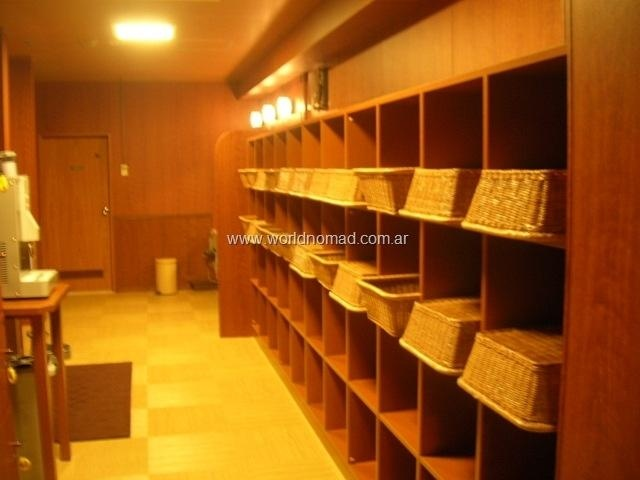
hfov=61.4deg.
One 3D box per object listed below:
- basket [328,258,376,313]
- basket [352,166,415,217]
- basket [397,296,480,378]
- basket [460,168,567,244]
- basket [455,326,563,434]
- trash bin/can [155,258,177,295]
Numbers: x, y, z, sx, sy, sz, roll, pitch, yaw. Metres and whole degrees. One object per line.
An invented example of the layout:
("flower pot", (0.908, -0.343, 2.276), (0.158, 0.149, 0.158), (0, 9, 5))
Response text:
("basket", (0.172, 0.245, 2.914), (0.228, 0.152, 0.288), (-1, 4, -23))
("basket", (0.287, -0.209, 2.419), (0.184, 0.159, 0.260), (0, 1, -13))
("basket", (0.441, 0.357, 1.976), (0.256, 0.170, 0.324), (4, 1, -22))
("basket", (0.584, -0.102, 1.602), (0.113, 0.206, 0.290), (-4, 8, -32))
("basket", (0.653, 0.422, 1.695), (0.292, 0.214, 0.371), (-3, 8, -23))
("trash bin/can", (-2.424, 0.569, 8.471), (0.326, 0.547, 0.246), (-2, 7, -19))
